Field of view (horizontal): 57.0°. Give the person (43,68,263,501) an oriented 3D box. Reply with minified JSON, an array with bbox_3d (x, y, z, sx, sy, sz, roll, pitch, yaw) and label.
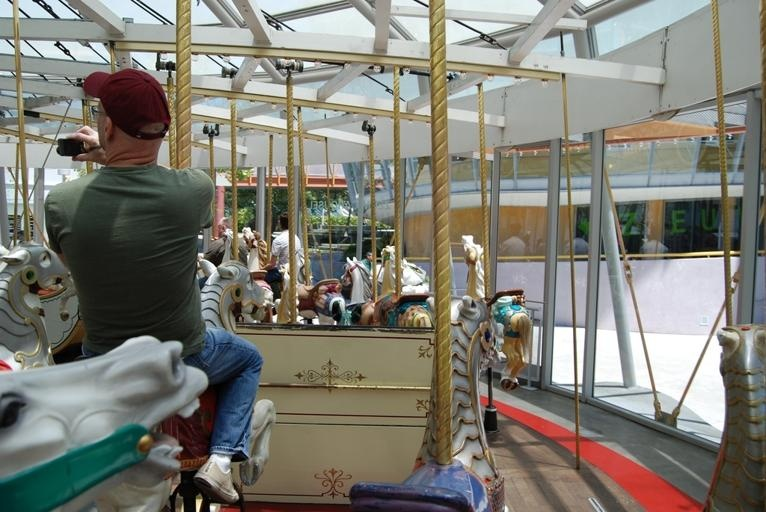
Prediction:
[{"bbox_3d":[-1.419,0.231,4.405,1.247,2.708,0.545,-2,7,-29],"label":"person"}]
